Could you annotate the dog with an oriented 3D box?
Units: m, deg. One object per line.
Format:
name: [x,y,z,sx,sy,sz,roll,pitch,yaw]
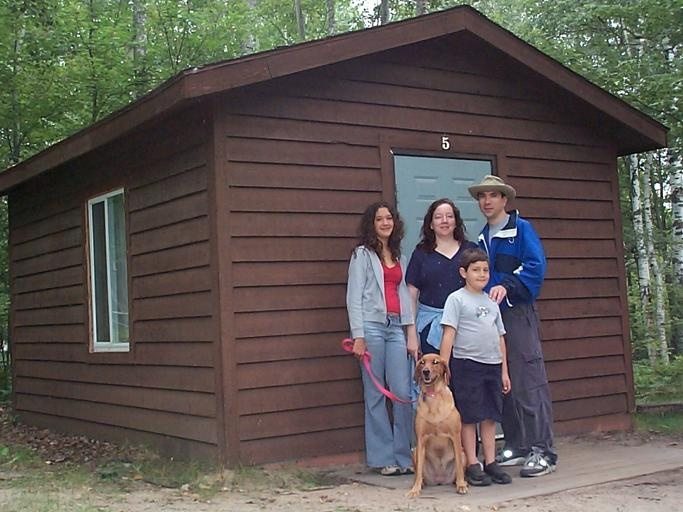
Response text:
dog: [0.807,1.417,5.680,0.490,1.168,0.379,-2,-4,6]

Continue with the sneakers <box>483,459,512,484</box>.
sneakers: [1.382,1.922,5.962,0.119,0.138,0.317,-2,7,-41]

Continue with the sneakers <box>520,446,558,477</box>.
sneakers: [1.849,1.917,6.217,0.465,0.226,0.158,1,-4,-35]

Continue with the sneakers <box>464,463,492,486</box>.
sneakers: [1.190,1.917,5.854,0.126,0.118,0.258,-2,-1,-34]

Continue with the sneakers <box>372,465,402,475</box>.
sneakers: [0.443,2.024,6.364,0.090,0.105,0.240,4,-10,-43]
